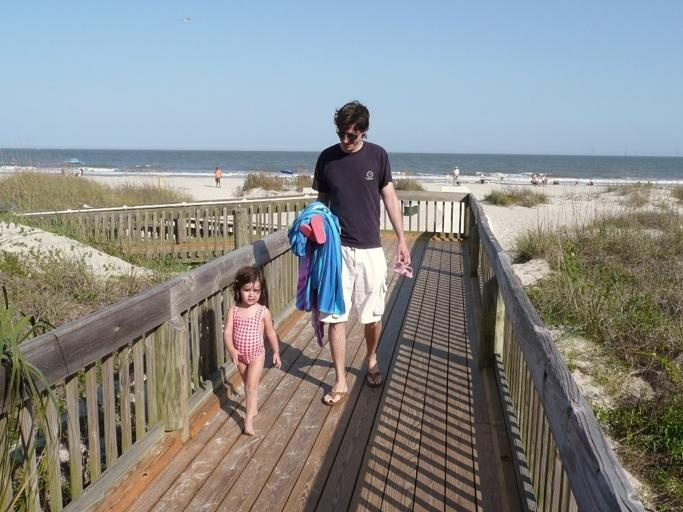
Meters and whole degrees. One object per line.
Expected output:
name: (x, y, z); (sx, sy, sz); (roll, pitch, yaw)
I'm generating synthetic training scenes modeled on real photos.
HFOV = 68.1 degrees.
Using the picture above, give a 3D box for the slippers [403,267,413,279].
slippers: (0.661, 0.185, 5.084); (0.053, 0.167, 0.103); (-6, -11, 18)

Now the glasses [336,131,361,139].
glasses: (0.069, -0.861, 3.649); (0.229, 0.072, 0.132); (-4, 15, -17)

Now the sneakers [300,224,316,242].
sneakers: (-0.240, -0.166, 3.622); (0.104, 0.117, 0.094); (-4, 21, -5)

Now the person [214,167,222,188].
person: (-10.982, -6.885, 44.726); (0.465, 1.770, 3.783); (-2, 15, -12)

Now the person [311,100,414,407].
person: (0.138, -0.012, 3.853); (0.768, 2.223, 0.943); (2, 13, 7)

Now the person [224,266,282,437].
person: (-0.623, 0.629, 3.577); (0.397, 1.100, 0.414); (-9, 15, -36)
